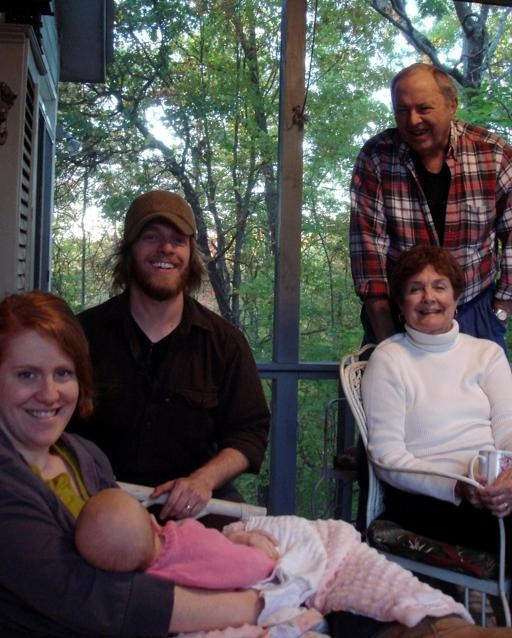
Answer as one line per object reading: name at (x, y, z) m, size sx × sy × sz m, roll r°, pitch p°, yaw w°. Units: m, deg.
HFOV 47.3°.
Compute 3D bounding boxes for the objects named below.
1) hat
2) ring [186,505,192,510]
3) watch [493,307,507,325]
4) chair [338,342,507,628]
hat at (-0.338, -0.367, 2.063) m, size 0.260 × 0.152 × 0.321 m, roll -2°, pitch 0°, yaw -12°
ring at (-0.183, 0.511, 1.586) m, size 0.008 × 0.012 × 0.012 m, roll -1°, pitch -26°, yaw -6°
watch at (1.020, -0.017, 2.455) m, size 0.057 × 0.054 × 0.013 m, roll -34°, pitch -8°, yaw -22°
chair at (0.437, 0.446, 1.898) m, size 0.658 × 0.827 × 0.580 m, roll -5°, pitch -9°, yaw 23°
